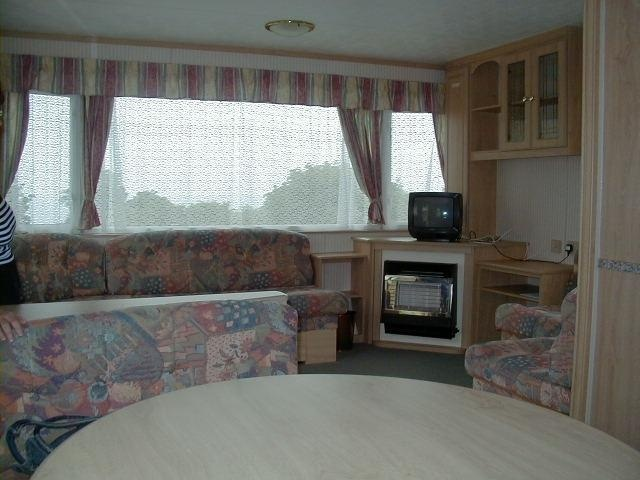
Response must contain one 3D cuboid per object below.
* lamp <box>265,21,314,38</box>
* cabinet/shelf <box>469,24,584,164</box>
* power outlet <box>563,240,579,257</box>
[{"bbox_3d":[-0.266,-1.794,4.015,0.431,0.077,0.323,2,6,-6],"label":"lamp"},{"bbox_3d":[1.921,-1.291,4.507,0.376,1.055,1.334,-7,10,-16],"label":"cabinet/shelf"},{"bbox_3d":[2.263,0.078,4.218,0.079,0.135,0.149,4,-1,0],"label":"power outlet"}]
